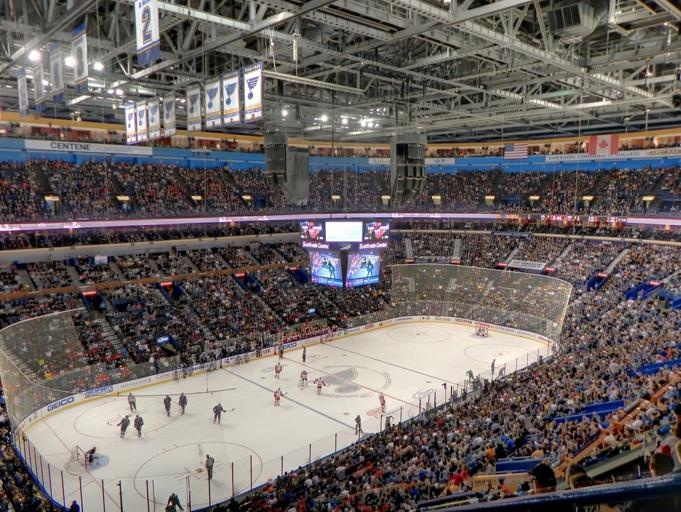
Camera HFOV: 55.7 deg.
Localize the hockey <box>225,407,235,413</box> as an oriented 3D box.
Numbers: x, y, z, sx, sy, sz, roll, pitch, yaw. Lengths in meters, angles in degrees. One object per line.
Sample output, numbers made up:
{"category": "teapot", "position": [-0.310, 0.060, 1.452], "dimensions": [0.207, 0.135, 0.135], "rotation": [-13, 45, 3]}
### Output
{"category": "hockey", "position": [-5.746, 7.973, 33.606], "dimensions": [0.571, 0.094, 0.569], "rotation": [-4, 10, -20]}
